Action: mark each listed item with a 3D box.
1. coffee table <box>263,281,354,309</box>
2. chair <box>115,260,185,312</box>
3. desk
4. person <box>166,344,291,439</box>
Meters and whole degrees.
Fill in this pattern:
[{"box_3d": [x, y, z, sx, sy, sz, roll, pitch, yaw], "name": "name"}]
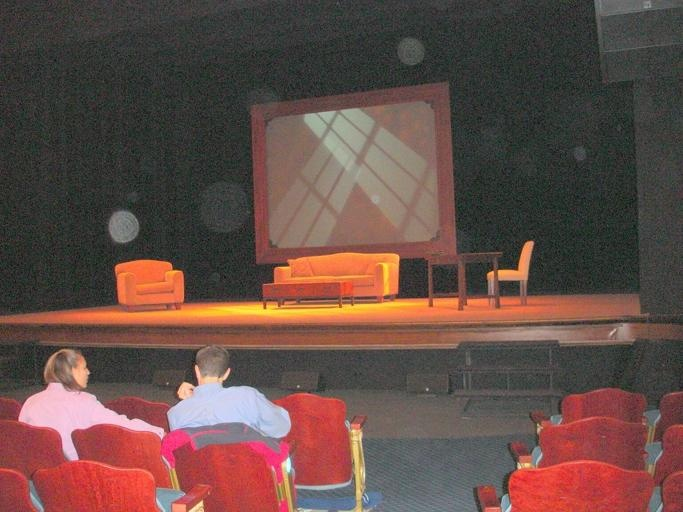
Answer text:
[{"box_3d": [-0.449, 0.541, 14.922, 1.232, 0.372, 2.025, 0, -5, -6], "name": "coffee table"}, {"box_3d": [-2.547, 0.409, 14.838, 0.838, 0.680, 0.655, -2, -6, -27], "name": "chair"}, {"box_3d": [1.563, 0.171, 13.779, 0.732, 0.742, 0.970, 0, 0, 15], "name": "desk"}, {"box_3d": [-1.038, 1.263, 9.749, 1.088, 0.911, 0.608, -10, -5, -13], "name": "person"}]
